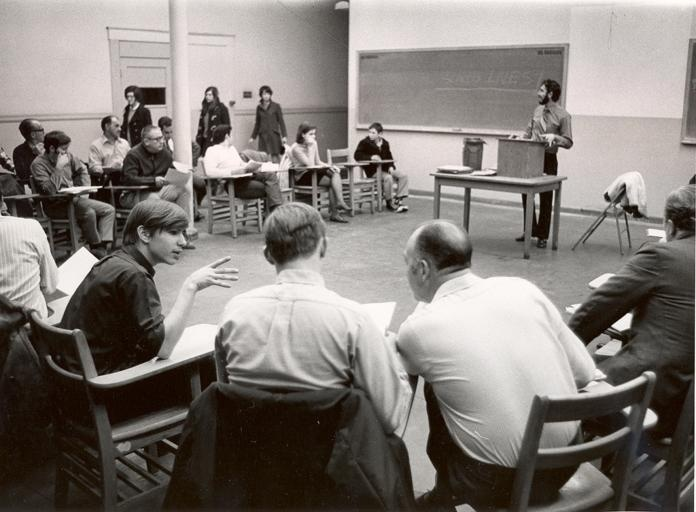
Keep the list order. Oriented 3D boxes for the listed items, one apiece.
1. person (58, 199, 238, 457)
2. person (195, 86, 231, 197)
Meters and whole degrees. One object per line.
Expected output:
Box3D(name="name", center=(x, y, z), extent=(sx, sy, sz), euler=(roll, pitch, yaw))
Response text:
Box3D(name="person", center=(-0.827, 0.115, 2.274), extent=(0.747, 0.667, 0.384), euler=(1, 13, 6))
Box3D(name="person", center=(-2.476, -2.073, 9.869), extent=(0.775, 1.906, 0.497), euler=(31, 35, 30))
